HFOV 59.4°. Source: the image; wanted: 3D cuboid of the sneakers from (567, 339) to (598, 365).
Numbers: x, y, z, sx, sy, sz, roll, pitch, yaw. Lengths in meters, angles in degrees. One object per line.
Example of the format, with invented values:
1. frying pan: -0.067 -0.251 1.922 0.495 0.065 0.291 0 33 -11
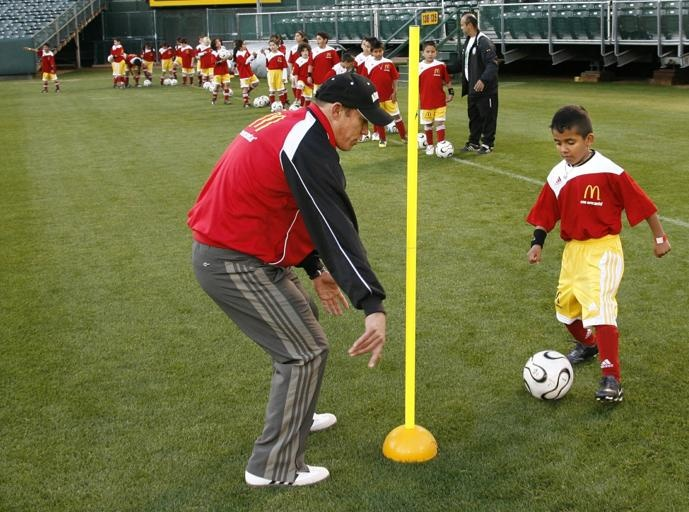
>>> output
1. sneakers: 1.621 0.658 4.085 0.242 0.123 0.085 -27 24 17

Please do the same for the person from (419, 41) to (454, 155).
1. person: 1.516 -2.677 10.185 0.470 1.857 0.958 -1 16 9

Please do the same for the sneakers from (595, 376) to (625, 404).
1. sneakers: 1.563 0.781 3.547 0.098 0.141 0.263 -7 -15 28

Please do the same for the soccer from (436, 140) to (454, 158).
1. soccer: 1.660 -1.769 9.972 0.262 0.282 0.265 -5 -2 -23

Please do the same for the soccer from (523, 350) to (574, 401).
1. soccer: 1.265 0.721 3.794 0.281 0.285 0.300 -8 34 37

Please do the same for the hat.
1. hat: 0.051 -0.745 2.908 0.338 0.196 0.220 9 29 -16

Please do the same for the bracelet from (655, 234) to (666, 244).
1. bracelet: 1.960 -0.101 3.723 0.042 0.039 0.058 -1 1 43

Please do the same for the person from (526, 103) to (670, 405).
1. person: 1.516 -0.052 3.781 0.677 1.734 0.748 -15 20 -37
